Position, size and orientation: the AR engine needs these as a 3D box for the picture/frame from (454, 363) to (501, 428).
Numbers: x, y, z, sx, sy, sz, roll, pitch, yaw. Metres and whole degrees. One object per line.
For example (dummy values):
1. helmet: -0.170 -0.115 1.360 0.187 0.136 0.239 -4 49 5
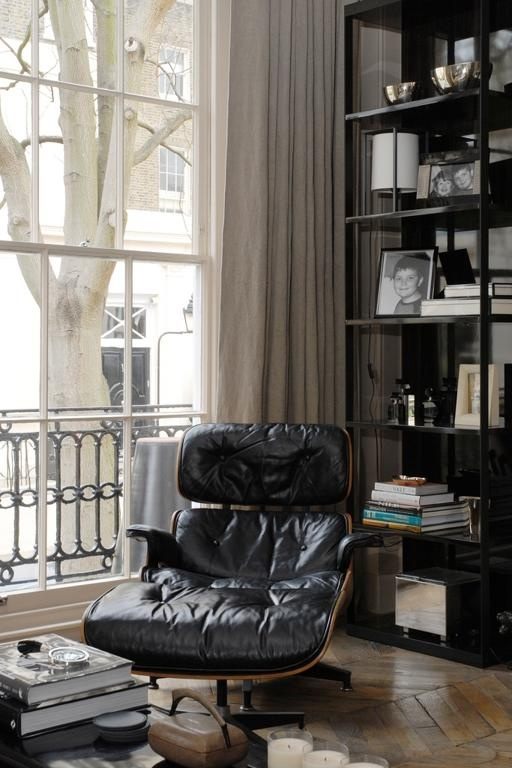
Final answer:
1. picture/frame: 0.771 0.045 2.601 0.082 0.306 0.177 4 -6 -29

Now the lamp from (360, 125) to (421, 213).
1. lamp: 0.535 -0.827 2.935 0.203 0.321 0.214 4 20 23

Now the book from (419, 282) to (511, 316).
1. book: 0.733 -0.286 2.638 0.307 0.121 0.194 -1 -3 16

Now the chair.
1. chair: -0.036 0.571 2.233 0.766 0.987 0.987 -1 -6 14

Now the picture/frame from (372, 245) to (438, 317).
1. picture/frame: 0.582 -0.389 2.935 0.233 0.335 0.016 -2 39 4
